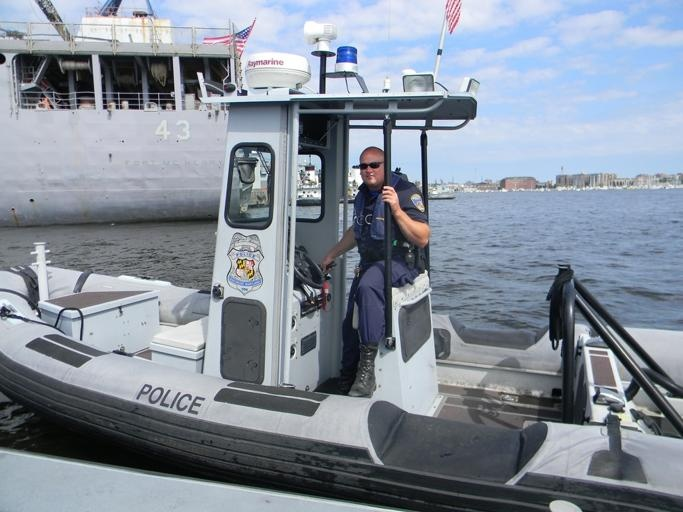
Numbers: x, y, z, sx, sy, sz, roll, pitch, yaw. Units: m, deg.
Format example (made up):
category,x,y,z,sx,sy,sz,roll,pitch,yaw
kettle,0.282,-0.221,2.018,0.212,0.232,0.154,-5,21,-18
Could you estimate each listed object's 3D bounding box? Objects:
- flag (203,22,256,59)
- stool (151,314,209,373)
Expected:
category,x,y,z,sx,sy,sz,roll,pitch,yaw
flag,-4.108,-7.847,19.779,1.671,0.093,1.727,12,57,12
stool,-1.274,0.715,4.404,0.346,0.176,0.504,5,4,12
